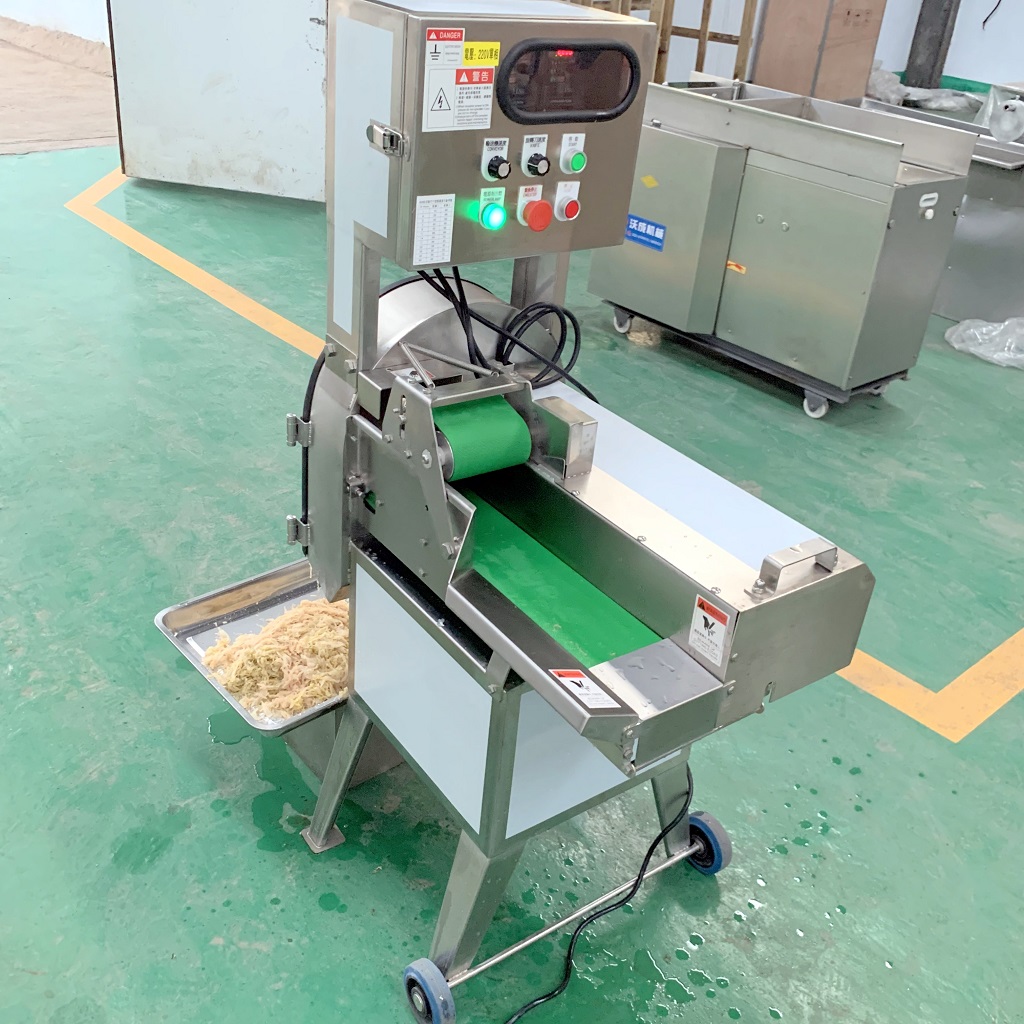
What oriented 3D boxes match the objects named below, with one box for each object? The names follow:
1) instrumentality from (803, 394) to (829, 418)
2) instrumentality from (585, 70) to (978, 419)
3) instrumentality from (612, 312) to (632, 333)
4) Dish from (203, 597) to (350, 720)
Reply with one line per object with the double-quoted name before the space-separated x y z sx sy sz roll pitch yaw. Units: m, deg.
"instrumentality" 1.619 -0.569 4.051 0.101 0.099 0.045 20 19 30
"instrumentality" 1.379 -1.644 4.373 1.875 1.474 0.848 31 51 33
"instrumentality" 0.674 -1.166 4.687 0.031 0.124 0.130 -7 67 -50
"Dish" -0.581 0.382 1.920 0.313 0.056 0.313 -23 40 -33
